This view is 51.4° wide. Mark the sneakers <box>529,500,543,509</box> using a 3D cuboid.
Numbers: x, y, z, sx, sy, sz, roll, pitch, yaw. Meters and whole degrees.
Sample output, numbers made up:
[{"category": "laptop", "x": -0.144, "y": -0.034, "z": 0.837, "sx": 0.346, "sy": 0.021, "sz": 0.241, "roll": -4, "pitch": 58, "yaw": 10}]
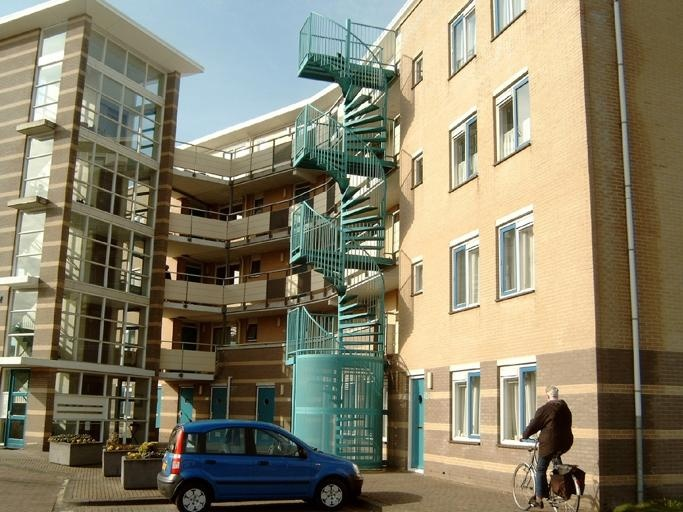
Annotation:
[{"category": "sneakers", "x": 3.667, "y": 4.615, "z": 13.297, "sx": 0.251, "sy": 0.170, "sz": 0.335, "roll": 7, "pitch": -24, "yaw": 5}]

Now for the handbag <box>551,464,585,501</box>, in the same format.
[{"category": "handbag", "x": 4.110, "y": 4.074, "z": 12.987, "sx": 0.695, "sy": 0.663, "sz": 0.509, "roll": 3, "pitch": -1, "yaw": -43}]

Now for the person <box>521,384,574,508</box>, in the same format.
[{"category": "person", "x": 3.884, "y": 3.519, "z": 13.173, "sx": 0.858, "sy": 2.137, "sz": 0.628, "roll": -6, "pitch": -18, "yaw": 15}]
